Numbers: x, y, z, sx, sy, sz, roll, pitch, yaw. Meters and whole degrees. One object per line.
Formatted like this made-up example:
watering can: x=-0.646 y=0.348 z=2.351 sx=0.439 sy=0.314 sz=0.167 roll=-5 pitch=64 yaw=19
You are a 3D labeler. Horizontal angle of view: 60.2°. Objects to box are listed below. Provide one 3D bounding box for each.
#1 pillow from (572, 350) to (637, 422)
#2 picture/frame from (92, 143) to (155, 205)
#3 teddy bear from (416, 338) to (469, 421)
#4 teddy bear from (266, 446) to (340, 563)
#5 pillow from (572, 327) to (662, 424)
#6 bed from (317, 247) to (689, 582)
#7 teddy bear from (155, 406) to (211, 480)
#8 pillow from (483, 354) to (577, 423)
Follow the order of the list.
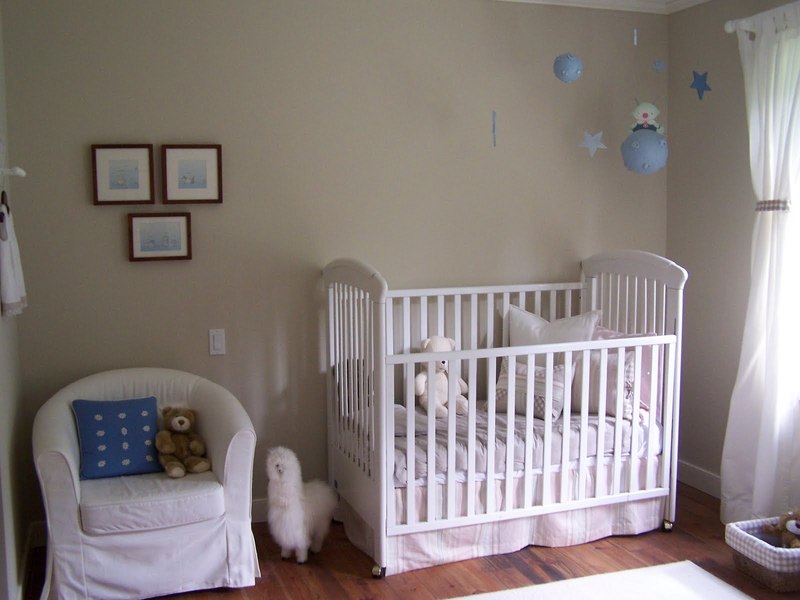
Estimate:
pillow: x=1.072 y=0.447 z=3.591 sx=0.115 sy=0.377 sz=0.330 roll=3 pitch=-3 yaw=-36
picture/frame: x=-1.446 y=-0.662 z=3.590 sx=0.263 sy=0.327 sz=0.020 roll=-2 pitch=7 yaw=-12
teddy bear: x=0.231 y=0.427 z=3.802 sx=0.293 sy=0.435 sz=0.339 roll=0 pitch=3 yaw=19
teddy bear: x=-0.500 y=1.031 z=3.614 sx=0.259 sy=0.605 sz=0.411 roll=0 pitch=4 yaw=35
pillow: x=1.165 y=0.400 z=3.609 sx=0.422 sy=0.503 sz=0.110 roll=2 pitch=0 yaw=-9
bed: x=0.559 y=0.499 z=3.783 sx=1.847 sy=1.593 sz=0.942 roll=-6 pitch=8 yaw=-20
teddy bear: x=-1.087 y=0.693 z=3.436 sx=0.263 sy=0.348 sz=0.241 roll=5 pitch=2 yaw=32
pillow: x=0.709 y=0.470 z=3.643 sx=0.117 sy=0.336 sz=0.404 roll=8 pitch=-3 yaw=-34
